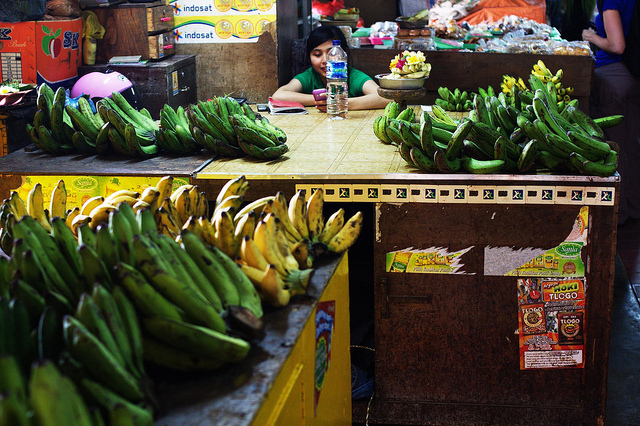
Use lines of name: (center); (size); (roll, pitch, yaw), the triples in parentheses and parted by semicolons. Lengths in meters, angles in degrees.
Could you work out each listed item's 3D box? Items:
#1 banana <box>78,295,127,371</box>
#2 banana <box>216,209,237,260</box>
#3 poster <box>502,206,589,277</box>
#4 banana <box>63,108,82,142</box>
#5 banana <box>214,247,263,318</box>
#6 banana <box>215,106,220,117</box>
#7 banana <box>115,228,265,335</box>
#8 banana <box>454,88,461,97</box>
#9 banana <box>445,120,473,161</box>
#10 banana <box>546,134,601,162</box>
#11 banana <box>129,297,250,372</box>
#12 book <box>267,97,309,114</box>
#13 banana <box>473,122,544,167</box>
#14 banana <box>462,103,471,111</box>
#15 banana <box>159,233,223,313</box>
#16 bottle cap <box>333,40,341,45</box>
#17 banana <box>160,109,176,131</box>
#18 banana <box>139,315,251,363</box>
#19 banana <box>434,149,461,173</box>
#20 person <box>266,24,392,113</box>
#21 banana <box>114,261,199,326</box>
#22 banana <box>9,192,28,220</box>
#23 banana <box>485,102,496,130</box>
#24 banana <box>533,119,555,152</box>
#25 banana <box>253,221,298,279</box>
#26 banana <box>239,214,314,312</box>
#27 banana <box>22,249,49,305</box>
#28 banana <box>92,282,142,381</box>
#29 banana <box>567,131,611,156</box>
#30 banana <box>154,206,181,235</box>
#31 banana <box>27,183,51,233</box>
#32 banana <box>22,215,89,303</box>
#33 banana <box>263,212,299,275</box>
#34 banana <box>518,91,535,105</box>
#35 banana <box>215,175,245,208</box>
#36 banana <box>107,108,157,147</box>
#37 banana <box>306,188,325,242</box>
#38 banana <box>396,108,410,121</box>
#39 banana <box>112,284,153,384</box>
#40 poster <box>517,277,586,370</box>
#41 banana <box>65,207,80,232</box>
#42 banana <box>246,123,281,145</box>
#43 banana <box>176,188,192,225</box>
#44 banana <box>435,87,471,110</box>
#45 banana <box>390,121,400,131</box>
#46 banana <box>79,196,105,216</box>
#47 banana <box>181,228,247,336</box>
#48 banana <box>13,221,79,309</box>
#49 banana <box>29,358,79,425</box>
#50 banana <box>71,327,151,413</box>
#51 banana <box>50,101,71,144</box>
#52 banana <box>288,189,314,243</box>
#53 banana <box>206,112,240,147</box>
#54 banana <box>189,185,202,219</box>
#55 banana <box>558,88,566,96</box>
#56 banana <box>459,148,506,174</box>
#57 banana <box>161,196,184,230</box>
banana: (-0.533, 0.299, 1.357); (0.044, 0.177, 0.059); (-28, 6, 21)
banana: (-0.309, 0.074, 1.847); (0.051, 0.200, 0.059); (-16, 16, -24)
poster: (1.140, 0.129, 2.787); (0.325, 0.364, 0.004); (1, 16, 6)
banana: (-1.430, -0.505, 3.220); (0.050, 0.202, 0.072); (-34, -27, 1)
banana: (-0.247, 0.221, 1.699); (0.051, 0.215, 0.072); (-16, 20, 45)
banana: (-0.615, -0.613, 3.343); (0.008, 0.046, 0.012); (-21, 0, -21)
banana: (-0.354, 0.209, 1.581); (0.138, 0.220, 0.431); (-27, -26, 19)
banana: (1.102, -0.978, 4.473); (0.049, 0.065, 0.341); (-2, 18, 14)
banana: (0.683, -0.394, 2.831); (0.216, 0.079, 0.061); (-19, 2, 44)
banana: (1.259, -0.324, 2.759); (0.281, 0.160, 0.066); (-9, 17, -10)
banana: (-0.356, 0.354, 1.572); (0.160, 0.312, 0.122); (-48, 22, 12)
book: (-0.256, -0.831, 4.363); (0.188, 0.067, 0.196); (0, 26, -10)
banana: (0.956, -0.339, 2.824); (0.296, 0.065, 0.104); (33, 14, 9)
banana: (1.136, -0.823, 4.329); (0.052, 0.064, 0.057); (-11, 18, -17)
banana: (-0.364, 0.179, 1.562); (0.043, 0.220, 0.074); (-29, 10, 41)
bottle cap: (0.124, -1.257, 4.103); (0.072, 0.050, 0.077); (0, 12, -2)
banana: (-0.892, -0.542, 3.266); (0.039, 0.153, 0.049); (-17, 26, 50)
banana: (-0.353, 0.349, 1.518); (0.217, 0.062, 0.073); (20, 16, -18)
banana: (0.633, -0.257, 2.744); (0.192, 0.135, 0.063); (8, -6, -37)
person: (0.054, -1.250, 4.842); (0.933, 0.807, 1.269); (-4, 8, -5)
banana: (-0.450, 0.215, 1.502); (0.098, 0.287, 0.073); (-50, 24, -10)
banana: (-1.093, -0.023, 2.018); (0.025, 0.107, 0.036); (-16, 11, 32)
banana: (0.930, -0.543, 3.060); (0.042, 0.173, 0.030); (-5, -4, -30)
banana: (1.100, -0.407, 2.806); (0.049, 0.197, 0.064); (-35, -9, 28)
banana: (-0.153, 0.131, 1.857); (0.029, 0.177, 0.059); (-17, 7, 34)
banana: (-0.155, 0.178, 1.831); (0.198, 0.318, 0.106); (-20, -2, -31)
banana: (-0.714, 0.166, 1.394); (0.031, 0.130, 0.043); (-16, 5, 1)
banana: (-0.511, 0.301, 1.391); (0.047, 0.232, 0.076); (-23, 1, 22)
banana: (1.358, -0.328, 2.824); (0.323, 0.111, 0.085); (13, -11, -34)
banana: (-0.523, 0.029, 1.907); (0.076, 0.097, 0.078); (-13, 18, -21)
banana: (-1.043, -0.022, 2.064); (0.041, 0.198, 0.067); (-19, -15, 14)
banana: (-0.690, 0.130, 1.450); (0.034, 0.214, 0.073); (-33, 1, 35)
banana: (-0.137, 0.111, 1.896); (0.065, 0.200, 0.034); (-26, 2, -23)
banana: (1.149, -0.640, 3.105); (0.072, 0.078, 0.153); (1, 19, 21)
banana: (-0.353, -0.088, 2.256); (0.068, 0.088, 0.231); (16, -23, -26)
banana: (-1.059, -0.445, 3.179); (0.354, 0.132, 0.084); (26, -9, -15)
banana: (-0.013, 0.010, 2.210); (0.057, 0.213, 0.067); (5, -12, -5)
banana: (0.528, -0.634, 3.579); (0.138, 0.042, 0.037); (-41, 38, -24)
banana: (-0.485, 0.305, 1.431); (0.047, 0.256, 0.087); (-15, -1, 16)
poster: (1.193, 0.546, 2.843); (0.428, 0.677, 0.009); (-1, 7, 6)
banana: (-0.852, 0.026, 1.923); (0.024, 0.031, 0.095); (3, 41, 5)
banana: (-0.328, -0.446, 3.178); (0.211, 0.053, 0.061); (32, 7, 20)
banana: (-0.496, -0.025, 2.033); (0.044, 0.177, 0.054); (-6, -12, -7)
banana: (1.018, -0.873, 4.346); (0.201, 0.113, 0.191); (-18, 37, -20)
banana: (0.421, -0.498, 3.164); (0.017, 0.032, 0.046); (21, -24, -28)
banana: (-0.855, -0.026, 2.103); (0.030, 0.036, 0.101); (-23, 21, 25)
banana: (-0.313, 0.212, 1.624); (0.067, 0.287, 0.099); (-15, 16, 30)
banana: (-0.706, 0.142, 1.429); (0.036, 0.215, 0.072); (-30, 2, 24)
banana: (-0.555, 0.379, 1.160); (0.040, 0.146, 0.038); (-31, 2, -1)
banana: (-0.514, 0.374, 1.332); (0.074, 0.293, 0.094); (-36, 3, -13)
banana: (-1.503, -0.509, 3.194); (0.056, 0.300, 0.097); (1, 17, 11)
banana: (-0.075, 0.001, 2.182); (0.065, 0.259, 0.084); (-3, -9, -35)
banana: (-0.555, -0.467, 3.176); (0.074, 0.250, 0.052); (-49, -6, 20)
banana: (-0.464, -0.039, 2.087); (0.032, 0.133, 0.041); (-3, 1, -18)
banana: (1.875, -0.943, 4.323); (0.057, 0.020, 0.055); (29, -27, -29)
banana: (0.805, -0.253, 2.842); (0.265, 0.101, 0.083); (12, -19, 36)
banana: (-0.517, 0.005, 1.957); (0.030, 0.111, 0.036); (-32, 12, -26)
